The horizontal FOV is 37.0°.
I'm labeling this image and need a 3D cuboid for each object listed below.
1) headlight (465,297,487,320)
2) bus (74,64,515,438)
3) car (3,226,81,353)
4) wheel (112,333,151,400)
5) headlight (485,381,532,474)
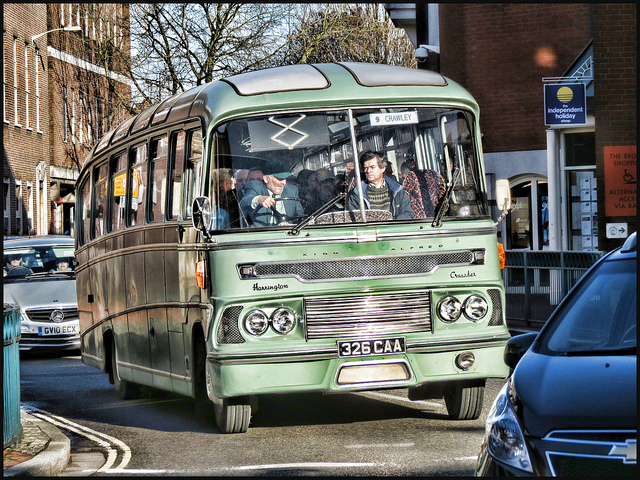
[{"bbox_3d":[1.528,0.665,9.310,0.206,0.207,0.064,-4,-1,-28],"label":"headlight"},{"bbox_3d":[-1.223,0.179,13.089,3.105,3.641,8.767,-2,-1,-23],"label":"bus"},{"bbox_3d":[-5.483,0.969,18.457,1.373,1.655,3.818,-1,-3,-17],"label":"car"},{"bbox_3d":[-2.551,1.625,13.065,0.508,1.034,0.585,1,-3,-34],"label":"wheel"},{"bbox_3d":[1.065,1.074,5.464,0.237,0.382,0.647,-2,-1,9],"label":"headlight"}]
